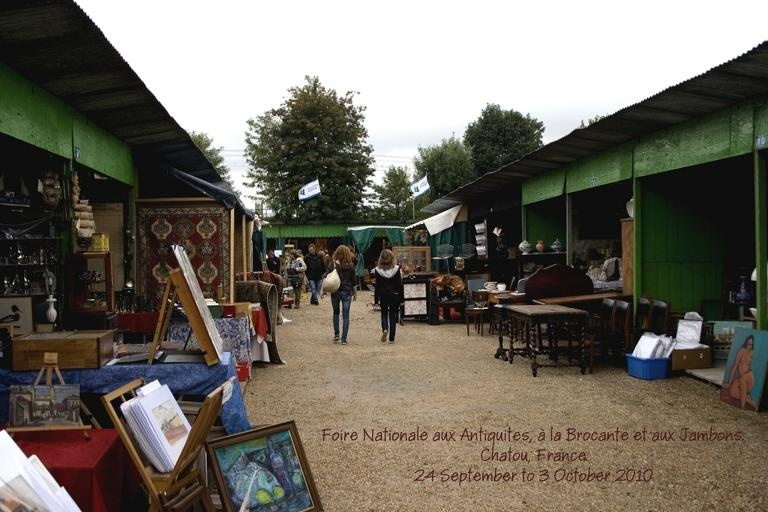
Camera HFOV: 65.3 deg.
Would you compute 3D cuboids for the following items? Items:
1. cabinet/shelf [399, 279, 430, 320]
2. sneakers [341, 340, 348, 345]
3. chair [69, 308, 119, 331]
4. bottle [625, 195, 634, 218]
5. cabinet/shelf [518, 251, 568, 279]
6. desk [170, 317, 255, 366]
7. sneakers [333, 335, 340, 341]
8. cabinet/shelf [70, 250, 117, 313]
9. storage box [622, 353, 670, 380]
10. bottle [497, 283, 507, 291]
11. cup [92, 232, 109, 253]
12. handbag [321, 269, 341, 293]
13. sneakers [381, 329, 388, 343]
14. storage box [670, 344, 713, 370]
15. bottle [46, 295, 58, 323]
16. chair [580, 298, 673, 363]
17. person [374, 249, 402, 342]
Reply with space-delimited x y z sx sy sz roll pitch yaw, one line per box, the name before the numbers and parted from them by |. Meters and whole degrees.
cabinet/shelf | 0.721 0.992 13.632 0.738 1.064 0.762 -1 1 2
sneakers | -0.710 1.557 10.866 0.114 0.065 0.177 -2 8 -9
chair | -3.795 0.818 7.807 0.538 0.305 0.316 -1 8 -2
bottle | 4.178 -0.821 10.182 0.056 0.398 1.204 2 8 19
cabinet/shelf | 3.253 0.176 12.219 0.540 0.503 0.216 -1 -7 8
desk | -2.202 1.059 7.833 0.731 0.429 0.753 0 -4 1
sneakers | -0.870 1.526 11.072 0.126 0.128 0.078 4 -6 -8
cabinet/shelf | -3.818 0.344 8.030 0.659 1.001 0.678 -1 -3 -11
storage box | 3.597 1.532 8.339 0.301 0.213 0.402 0 -4 -13
bottle | 2.463 0.649 12.525 0.152 0.129 0.155 0 2 7
cup | -3.814 -0.170 8.165 0.232 0.303 0.301 0 -2 2
handbag | -0.949 0.491 10.685 0.292 0.419 0.566 0 8 11
sneakers | 0.017 1.483 11.057 0.087 0.248 0.103 4 34 1
storage box | 4.259 1.434 8.321 0.621 0.336 0.150 -4 9 -20
bottle | -3.934 0.636 7.128 0.100 0.352 0.300 -5 9 -25
chair | 3.855 1.117 9.433 1.232 1.016 1.287 2 9 21
person | 0.052 0.734 11.171 0.501 1.715 0.534 6 11 39
